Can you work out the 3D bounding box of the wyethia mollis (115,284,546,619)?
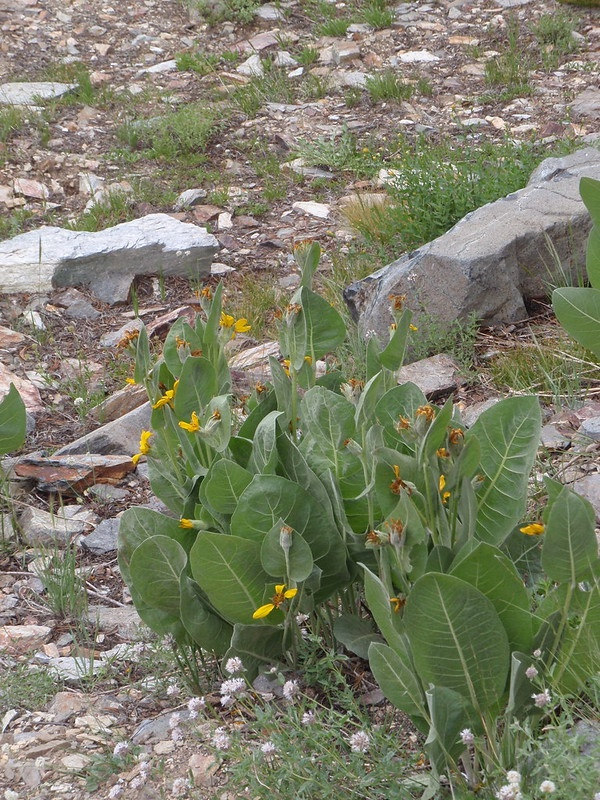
[{"bbox_3d":[0.036,0.185,2.555,1.047,0.774,0.963,-12,-17,2],"label":"wyethia mollis"}]
